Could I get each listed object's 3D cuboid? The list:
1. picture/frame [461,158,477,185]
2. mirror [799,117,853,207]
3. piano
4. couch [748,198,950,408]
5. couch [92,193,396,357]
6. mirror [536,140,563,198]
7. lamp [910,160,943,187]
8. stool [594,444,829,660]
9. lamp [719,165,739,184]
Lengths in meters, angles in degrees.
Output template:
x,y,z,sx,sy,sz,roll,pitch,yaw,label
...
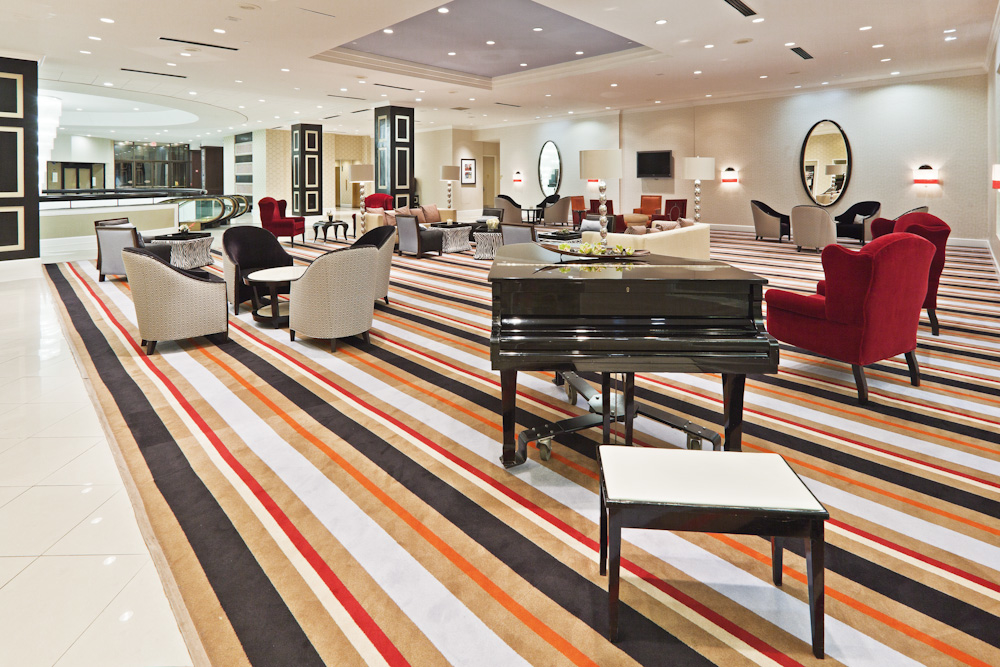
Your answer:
x,y,z,sx,sy,sz,roll,pitch,yaw,label
-1.197,-5.944,22.540,0.236,0.985,0.988,10,15,35,picture/frame
7.772,-4.071,14.709,0.140,2.015,1.191,-9,16,-41,mirror
0.733,0.083,4.518,1.856,1.136,2.442,-3,11,-13,piano
2.941,-0.464,5.491,1.598,1.920,1.504,-9,13,-21,couch
-2.330,-0.628,6.874,2.123,1.124,2.247,1,12,-4,couch
1.636,-5.534,20.325,0.119,2.403,1.748,-12,21,-31,mirror
9.203,-3.444,13.286,0.529,0.496,0.506,-6,8,-45,lamp
1.001,0.770,3.048,1.202,0.799,0.896,1,1,8,stool
6.114,-4.247,16.438,0.457,0.411,0.437,-3,4,-32,lamp
